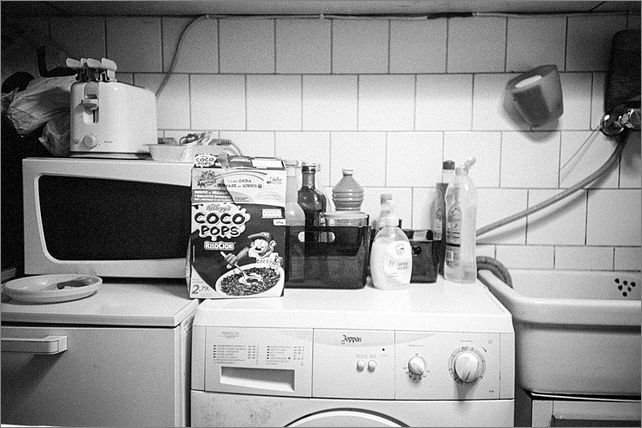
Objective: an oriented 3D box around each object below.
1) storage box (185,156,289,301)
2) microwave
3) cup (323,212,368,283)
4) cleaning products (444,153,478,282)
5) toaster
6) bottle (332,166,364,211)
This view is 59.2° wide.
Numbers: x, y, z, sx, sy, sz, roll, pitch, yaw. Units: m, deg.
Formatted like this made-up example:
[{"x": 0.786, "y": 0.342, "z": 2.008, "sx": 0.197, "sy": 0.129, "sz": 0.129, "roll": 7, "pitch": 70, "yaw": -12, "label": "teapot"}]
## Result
[{"x": -0.283, "y": 0.054, "z": 1.894, "sx": 0.447, "sy": 0.660, "sz": 0.210, "roll": 1, "pitch": 5, "yaw": -2, "label": "storage box"}, {"x": -0.756, "y": 0.016, "z": 2.052, "sx": 0.705, "sy": 0.492, "sz": 0.399, "roll": 1, "pitch": 0, "yaw": 1, "label": "microwave"}, {"x": 0.111, "y": 0.113, "z": 1.962, "sx": 0.194, "sy": 0.287, "sz": 0.203, "roll": 0, "pitch": -2, "yaw": 0, "label": "cup"}, {"x": 0.521, "y": 0.020, "z": 2.079, "sx": 0.110, "sy": 0.453, "sz": 0.103, "roll": 2, "pitch": 5, "yaw": 10, "label": "cleaning products"}, {"x": -0.762, "y": -0.377, "z": 2.032, "sx": 0.297, "sy": 0.354, "sz": 0.400, "roll": 1, "pitch": 3, "yaw": 4, "label": "toaster"}, {"x": 0.099, "y": -0.103, "z": 2.097, "sx": 0.136, "sy": 0.200, "sz": 0.138, "roll": 0, "pitch": -1, "yaw": 0, "label": "bottle"}]
